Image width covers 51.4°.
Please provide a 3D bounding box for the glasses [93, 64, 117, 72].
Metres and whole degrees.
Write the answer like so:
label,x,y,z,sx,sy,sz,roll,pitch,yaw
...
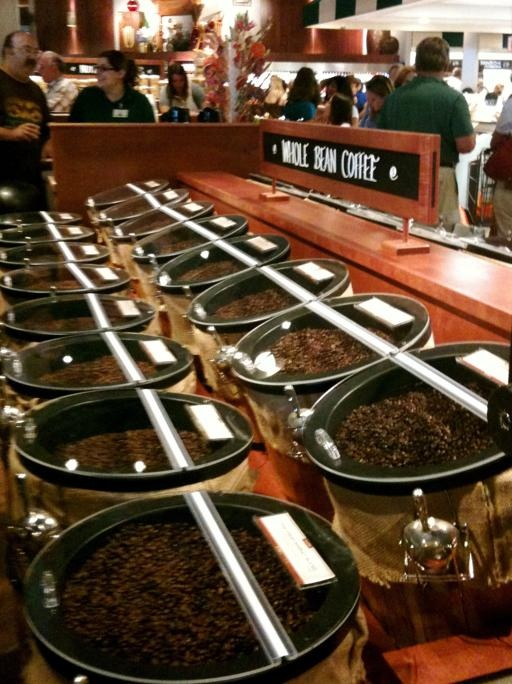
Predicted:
label,x,y,z,sx,sy,sz,roll,pitch,yaw
glasses,-0.961,-1.754,3.392,0.108,0.038,0.075,-2,16,-5
